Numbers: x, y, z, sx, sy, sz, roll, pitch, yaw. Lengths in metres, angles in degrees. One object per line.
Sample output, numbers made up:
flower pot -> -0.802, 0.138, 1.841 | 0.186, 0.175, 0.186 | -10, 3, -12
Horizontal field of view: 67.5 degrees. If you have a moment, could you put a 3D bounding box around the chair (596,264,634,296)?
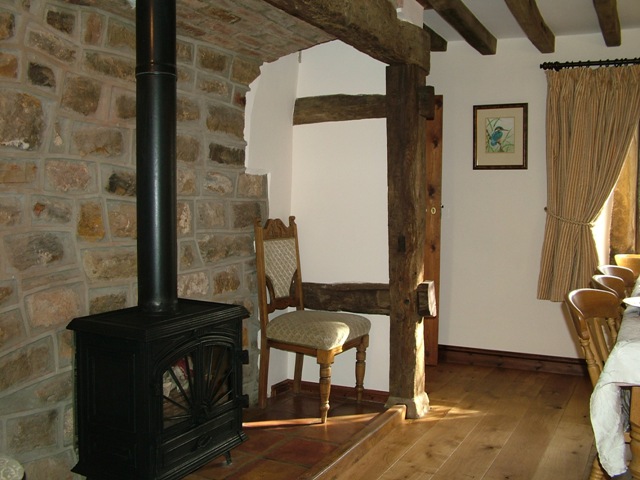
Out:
chair -> 2.187, 0.252, 3.520 | 0.263, 0.282, 0.228 | -2, 1, -43

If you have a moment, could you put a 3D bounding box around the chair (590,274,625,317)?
chair -> 1.849, 0.317, 3.043 | 0.222, 0.319, 0.251 | -2, 6, 36

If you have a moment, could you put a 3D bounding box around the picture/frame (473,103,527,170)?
picture/frame -> 1.829, -1.053, 4.790 | 0.617, 0.833, 0.056 | 1, 3, 26

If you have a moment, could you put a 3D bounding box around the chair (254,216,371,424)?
chair -> -0.085, 0.554, 3.590 | 0.806, 1.438, 0.592 | 1, 5, 25
